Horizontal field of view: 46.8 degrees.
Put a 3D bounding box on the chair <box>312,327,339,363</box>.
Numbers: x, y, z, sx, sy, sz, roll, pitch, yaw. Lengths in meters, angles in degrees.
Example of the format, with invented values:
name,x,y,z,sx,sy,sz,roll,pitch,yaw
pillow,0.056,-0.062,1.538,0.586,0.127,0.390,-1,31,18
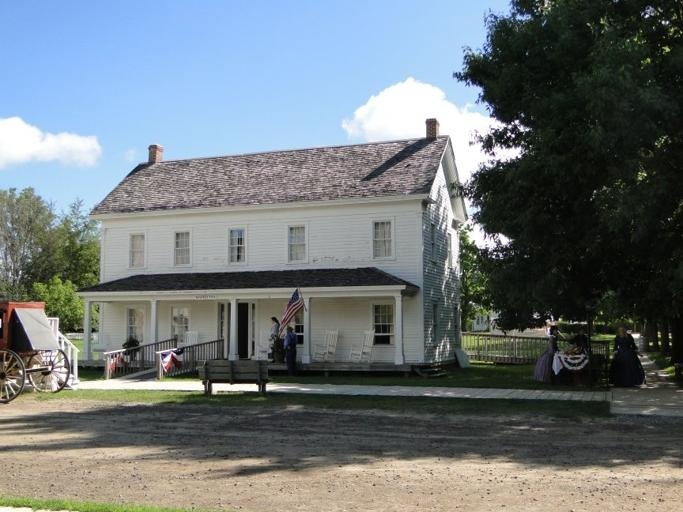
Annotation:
name,x,y,z,sx,sy,sz,roll,pitch,yaw
chair,-0.687,3.783,33.291,0.938,1.303,0.949,1,2,19

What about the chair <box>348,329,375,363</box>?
name,x,y,z,sx,sy,sz,roll,pitch,yaw
chair,0.862,3.774,32.780,1.002,1.269,0.865,0,2,7

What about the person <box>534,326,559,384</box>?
name,x,y,z,sx,sy,sz,roll,pitch,yaw
person,7.300,3.498,28.134,0.792,2.066,1.257,0,2,11

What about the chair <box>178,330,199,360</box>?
name,x,y,z,sx,sy,sz,roll,pitch,yaw
chair,-6.695,3.880,34.642,0.916,0.964,2.694,0,1,-12

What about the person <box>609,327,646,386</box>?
name,x,y,z,sx,sy,sz,roll,pitch,yaw
person,9.753,3.433,27.133,1.171,1.875,1.108,0,14,33
